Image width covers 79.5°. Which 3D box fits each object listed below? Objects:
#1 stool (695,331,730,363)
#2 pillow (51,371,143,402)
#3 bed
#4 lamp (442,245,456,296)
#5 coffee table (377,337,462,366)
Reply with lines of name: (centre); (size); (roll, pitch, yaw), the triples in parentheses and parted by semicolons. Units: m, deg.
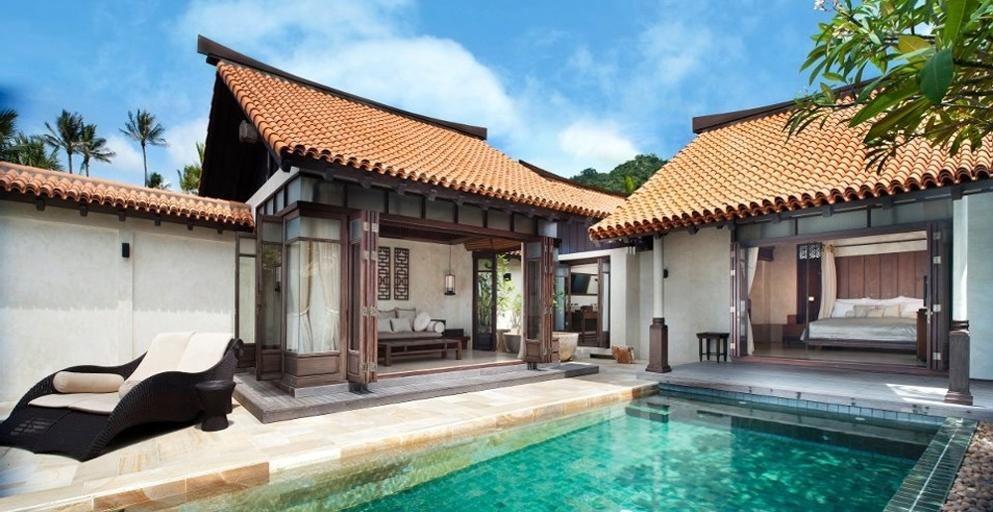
stool: (5.967, 2.477, 16.412); (0.877, 0.787, 0.889); (-6, -7, 43)
pillow: (-8.316, 2.622, 12.565); (1.918, 0.728, 0.927); (0, -4, -8)
bed: (10.425, 1.868, 16.994); (2.640, 1.459, 2.538); (-5, -7, 31)
lamp: (-1.425, 0.405, 18.423); (0.407, 1.535, 0.250); (0, -6, -13)
coffee table: (-2.113, 2.525, 16.322); (2.245, 0.694, 1.645); (1, -6, -15)
